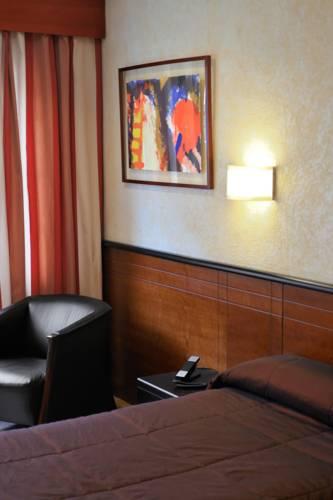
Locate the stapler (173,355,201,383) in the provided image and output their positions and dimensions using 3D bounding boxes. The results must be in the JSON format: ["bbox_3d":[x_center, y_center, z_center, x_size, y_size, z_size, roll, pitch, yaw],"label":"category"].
[{"bbox_3d":[0.119,0.634,2.110,0.060,0.065,0.232,3,26,20],"label":"stapler"}]

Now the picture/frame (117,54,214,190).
[{"bbox_3d":[0.011,-0.859,2.535,0.058,0.885,0.832,-8,11,-38],"label":"picture/frame"}]
